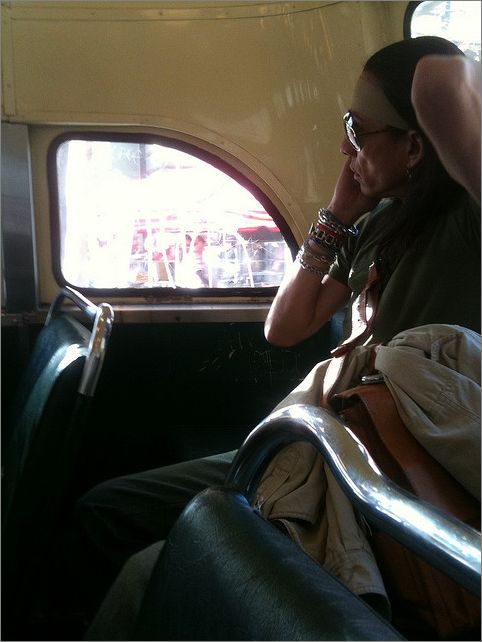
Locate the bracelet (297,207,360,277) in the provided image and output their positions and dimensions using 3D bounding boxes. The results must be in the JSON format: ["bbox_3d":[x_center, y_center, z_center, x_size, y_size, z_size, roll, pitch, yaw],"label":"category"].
[{"bbox_3d":[0.259,-0.247,1.466,0.147,0.190,0.195,33,28,2],"label":"bracelet"}]

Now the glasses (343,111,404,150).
[{"bbox_3d":[0.277,-0.419,1.070,0.097,0.034,0.093,-11,19,-15],"label":"glasses"}]
